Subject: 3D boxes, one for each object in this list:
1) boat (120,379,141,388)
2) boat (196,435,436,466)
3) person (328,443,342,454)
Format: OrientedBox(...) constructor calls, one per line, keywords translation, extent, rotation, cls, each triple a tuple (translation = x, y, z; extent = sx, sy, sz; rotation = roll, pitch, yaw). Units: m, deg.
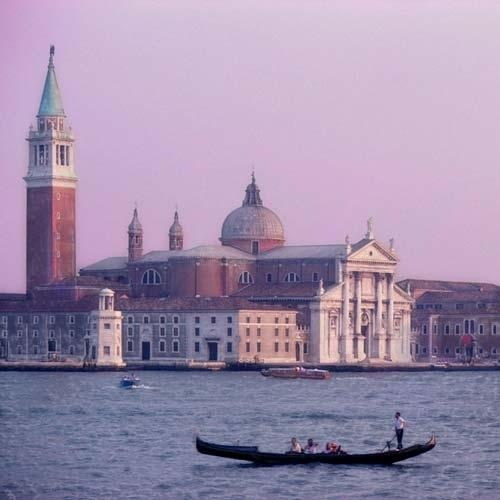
OrientedBox(translation=(-7.877, 9.009, 124.740), extent=(1.212, 0.399, 0.531), rotation=(2, -25, -2), cls="boat")
OrientedBox(translation=(2.883, 9.422, 86.542), extent=(10.478, 1.416, 1.860), rotation=(0, -7, -11), cls="boat")
OrientedBox(translation=(3.997, 9.345, 87.203), extent=(0.541, 0.318, 0.728), rotation=(0, -3, -3), cls="person")
